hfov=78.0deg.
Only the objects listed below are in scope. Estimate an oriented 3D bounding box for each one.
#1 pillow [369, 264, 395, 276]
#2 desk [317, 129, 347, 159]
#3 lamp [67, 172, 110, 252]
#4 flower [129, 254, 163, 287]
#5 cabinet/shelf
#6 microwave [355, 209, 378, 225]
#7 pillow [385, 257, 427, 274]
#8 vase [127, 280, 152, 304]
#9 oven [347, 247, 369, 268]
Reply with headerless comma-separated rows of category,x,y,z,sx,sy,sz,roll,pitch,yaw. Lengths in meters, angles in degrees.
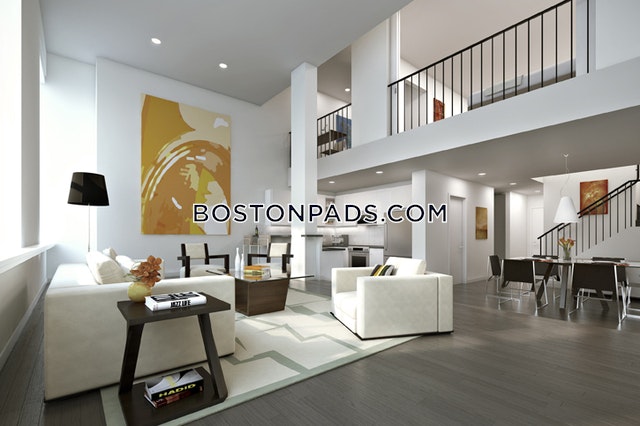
pillow,1.019,0.929,6.407,0.219,0.072,0.234,-8,24,26
desk,0.233,-2.265,12.348,0.875,0.647,0.912,12,21,39
lamp,-4.529,0.003,7.711,0.618,1.485,1.339,3,-7,-30
flower,-2.091,0.699,4.733,0.334,0.356,0.328,3,-7,-26
cabinet/shelf,0.602,-0.184,11.740,3.903,1.112,1.998,-1,-6,7
microwave,1.378,0.125,11.729,0.375,0.413,0.621,5,-7,-38
pillow,1.436,0.865,6.308,0.110,0.287,0.540,17,-16,-23
vase,-2.123,0.901,4.641,0.236,0.237,0.236,3,2,-42
oven,1.137,1.311,11.815,0.508,0.739,0.740,8,-12,-31
